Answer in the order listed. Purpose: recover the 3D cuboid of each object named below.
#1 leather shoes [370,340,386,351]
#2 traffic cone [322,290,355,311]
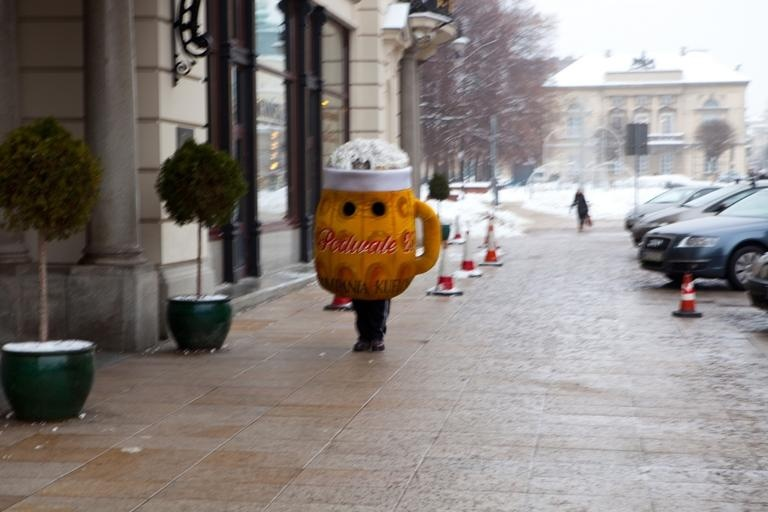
[{"bbox_3d":[-0.079,1.118,9.790,0.120,0.099,0.179,0,-6,6],"label":"leather shoes"},{"bbox_3d":[-0.753,0.770,12.927,0.636,0.222,0.520,1,1,-2],"label":"traffic cone"}]
